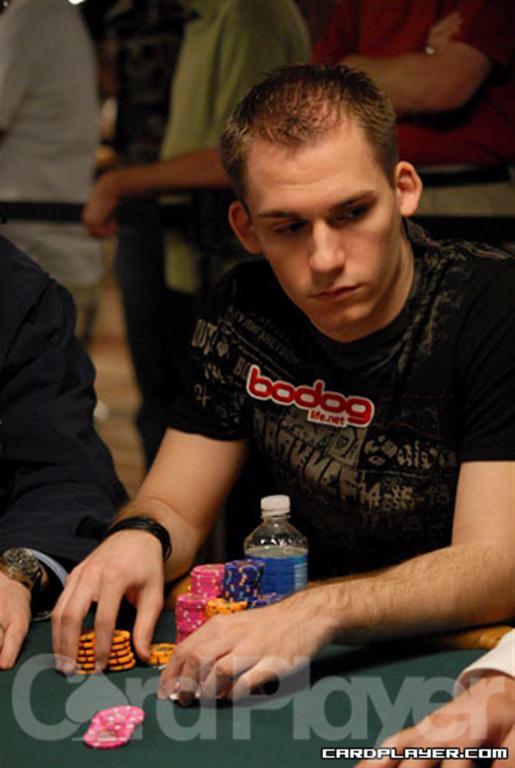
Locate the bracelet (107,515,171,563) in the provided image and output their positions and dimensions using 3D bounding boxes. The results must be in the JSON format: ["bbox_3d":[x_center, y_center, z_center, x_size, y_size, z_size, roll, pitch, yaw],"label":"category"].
[{"bbox_3d":[-0.237,0.299,1.417,0.110,0.096,0.039,15,93,16],"label":"bracelet"}]
